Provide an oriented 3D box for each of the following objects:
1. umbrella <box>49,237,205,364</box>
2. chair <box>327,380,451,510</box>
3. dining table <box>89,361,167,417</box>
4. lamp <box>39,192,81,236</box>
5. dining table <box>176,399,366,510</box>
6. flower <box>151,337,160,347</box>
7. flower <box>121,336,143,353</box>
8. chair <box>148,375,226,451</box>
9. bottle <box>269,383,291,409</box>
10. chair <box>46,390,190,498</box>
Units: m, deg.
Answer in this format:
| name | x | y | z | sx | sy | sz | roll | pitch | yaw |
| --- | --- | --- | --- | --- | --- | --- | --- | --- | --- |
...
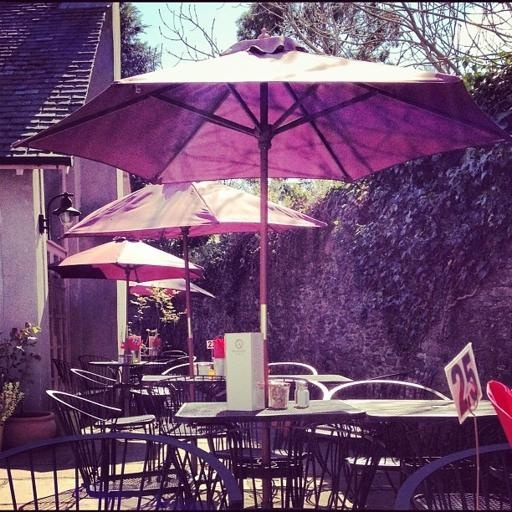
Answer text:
| name | x | y | z | sx | sy | sz | roll | pitch | yaw |
| --- | --- | --- | --- | --- | --- | --- | --- | --- | --- |
| umbrella | -1.655 | 0.594 | 11.541 | 1.444 | 1.092 | 1.534 | 0 | -12 | -3 |
| chair | 0.952 | 1.339 | 6.754 | 0.905 | 1.204 | 0.824 | 1 | -12 | -8 |
| dining table | -1.435 | 1.276 | 9.653 | 0.842 | 0.690 | 0.903 | 0 | -8 | 6 |
| lamp | -2.066 | -0.416 | 9.703 | 0.392 | 0.532 | 0.281 | 0 | -14 | -14 |
| dining table | 0.044 | 1.182 | 5.246 | 0.734 | 0.791 | 0.782 | 0 | -4 | 1 |
| flower | -1.269 | 1.090 | 11.544 | 0.059 | 0.061 | 0.123 | -21 | 6 | 2 |
| flower | -1.345 | 0.942 | 9.823 | 0.123 | 0.166 | 0.444 | 3 | -16 | -5 |
| chair | -0.518 | 1.151 | 6.968 | 0.589 | 0.880 | 0.690 | -1 | -3 | 4 |
| bottle | 0.138 | 0.833 | 5.387 | 0.122 | 0.129 | 0.139 | 2 | -15 | -4 |
| chair | -0.999 | 1.359 | 6.514 | 0.736 | 1.179 | 0.757 | -11 | -5 | -6 |
